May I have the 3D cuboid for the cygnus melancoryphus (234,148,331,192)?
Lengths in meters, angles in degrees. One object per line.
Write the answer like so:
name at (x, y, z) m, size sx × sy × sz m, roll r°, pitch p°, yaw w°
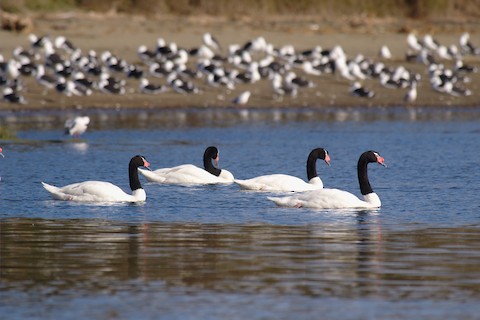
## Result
cygnus melancoryphus at (1.415, 0.338, 27.495) m, size 3.703 × 1.626 × 1.216 m, roll 0°, pitch 7°, yaw -4°

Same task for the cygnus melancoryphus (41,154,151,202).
cygnus melancoryphus at (-4.291, 0.726, 25.349) m, size 3.526 × 1.580 × 1.063 m, roll 2°, pitch 9°, yaw -24°

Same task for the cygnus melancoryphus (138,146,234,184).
cygnus melancoryphus at (-1.664, 0.180, 28.476) m, size 2.858 × 1.216 × 1.141 m, roll -1°, pitch 0°, yaw -8°
